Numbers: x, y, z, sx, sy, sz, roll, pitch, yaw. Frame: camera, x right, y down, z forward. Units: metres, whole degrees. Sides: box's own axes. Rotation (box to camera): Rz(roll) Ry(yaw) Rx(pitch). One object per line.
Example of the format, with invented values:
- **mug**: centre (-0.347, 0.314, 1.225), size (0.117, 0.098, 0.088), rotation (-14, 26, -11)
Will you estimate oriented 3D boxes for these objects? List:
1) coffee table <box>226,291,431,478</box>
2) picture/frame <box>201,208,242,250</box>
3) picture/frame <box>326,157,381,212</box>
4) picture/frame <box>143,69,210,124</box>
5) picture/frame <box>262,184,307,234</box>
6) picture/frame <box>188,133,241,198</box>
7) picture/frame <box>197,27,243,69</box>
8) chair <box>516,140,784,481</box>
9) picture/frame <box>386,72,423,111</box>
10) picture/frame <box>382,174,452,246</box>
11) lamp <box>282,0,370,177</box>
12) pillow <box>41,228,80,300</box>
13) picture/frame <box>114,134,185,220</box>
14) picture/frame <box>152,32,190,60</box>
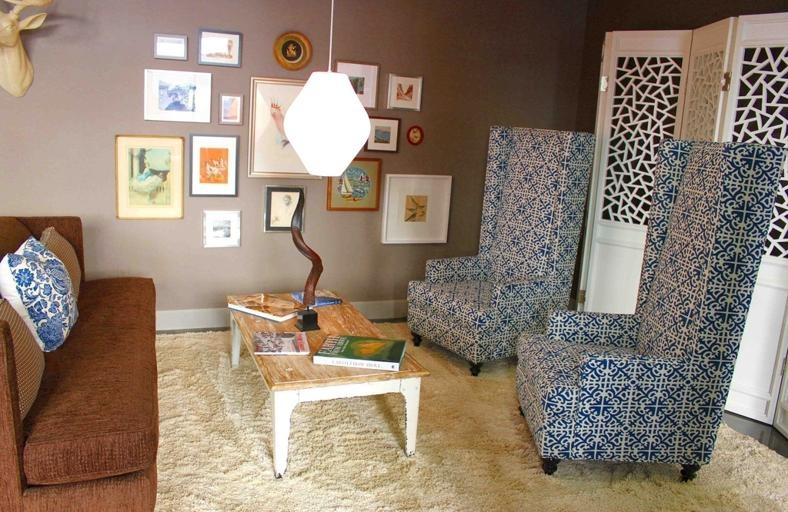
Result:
- **coffee table**: centre (-0.446, 0.852, 3.833), size (0.981, 0.814, 1.055), rotation (-3, 9, -24)
- **picture/frame**: centre (-1.514, -0.248, 5.036), size (0.363, 0.358, 0.048), rotation (-1, 8, -20)
- **picture/frame**: centre (-0.367, -0.635, 5.068), size (0.523, 0.489, 0.053), rotation (1, 7, -15)
- **picture/frame**: centre (-1.807, -1.335, 4.759), size (0.487, 0.352, 0.034), rotation (1, 6, -17)
- **picture/frame**: centre (-0.971, -0.417, 5.149), size (0.372, 0.427, 0.016), rotation (2, -2, 11)
- **picture/frame**: centre (-1.546, -0.794, 4.932), size (0.559, 0.714, 0.035), rotation (-1, 6, -19)
- **picture/frame**: centre (-1.458, -1.743, 4.794), size (0.360, 0.294, 0.024), rotation (3, 6, -20)
- **chair**: centre (1.544, 0.323, 3.610), size (1.316, 2.078, 0.628), rotation (1, 9, -2)
- **picture/frame**: centre (0.080, -1.532, 5.314), size (0.350, 0.321, 0.026), rotation (6, 10, -21)
- **picture/frame**: centre (0.192, -0.466, 5.540), size (0.708, 0.660, 0.066), rotation (1, 11, -23)
- **lamp**: centre (-0.411, -0.810, 3.500), size (0.505, 0.620, 0.201), rotation (1, 9, -3)
- **pillow**: centre (-2.151, 0.060, 3.726), size (0.139, 0.438, 0.463), rotation (-13, 0, -4)
- **picture/frame**: centre (-2.049, -0.686, 4.799), size (0.722, 0.892, 0.062), rotation (-1, 7, -18)
- **picture/frame**: centre (-1.820, -1.715, 4.693), size (0.246, 0.178, 0.016), rotation (0, 8, -15)
